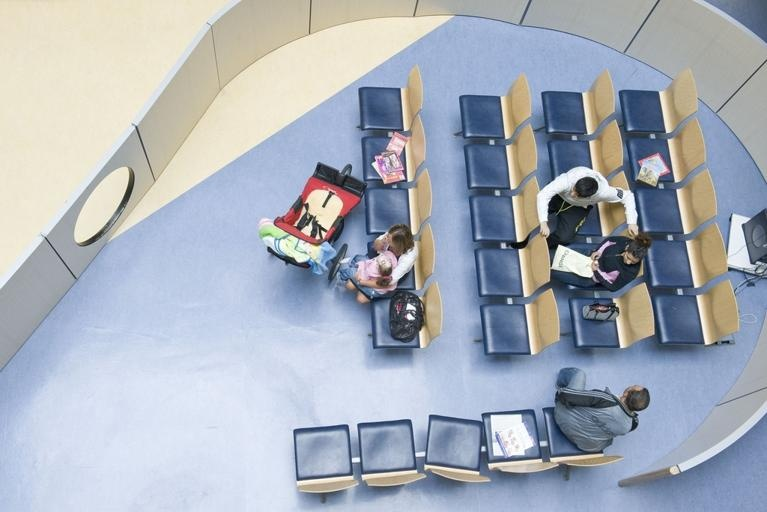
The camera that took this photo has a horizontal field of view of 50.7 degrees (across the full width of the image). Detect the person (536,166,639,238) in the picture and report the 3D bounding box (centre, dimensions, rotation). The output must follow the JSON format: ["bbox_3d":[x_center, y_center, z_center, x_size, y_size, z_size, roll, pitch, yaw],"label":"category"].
[{"bbox_3d":[2.689,-0.708,10.623,1.363,0.862,0.504,0,14,2],"label":"person"}]

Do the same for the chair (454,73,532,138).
[{"bbox_3d":[1.487,-1.952,11.109,0.809,0.620,0.540,-7,8,11],"label":"chair"}]

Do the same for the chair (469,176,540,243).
[{"bbox_3d":[1.599,-0.544,10.822,0.846,0.875,0.588,0,-4,-6],"label":"chair"}]

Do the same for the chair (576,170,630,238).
[{"bbox_3d":[3.037,-0.662,11.091,0.703,0.605,1.021,-6,7,-2],"label":"chair"}]

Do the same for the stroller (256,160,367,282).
[{"bbox_3d":[-0.813,-0.470,10.795,1.118,1.662,0.958,28,-5,3],"label":"stroller"}]

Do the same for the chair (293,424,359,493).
[{"bbox_3d":[-0.749,2.534,10.166,0.745,0.820,0.505,0,-8,-5],"label":"chair"}]

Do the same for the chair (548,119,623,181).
[{"bbox_3d":[2.778,-1.413,11.187,0.904,0.782,1.306,-2,-3,-19],"label":"chair"}]

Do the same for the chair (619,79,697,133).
[{"bbox_3d":[3.927,-2.015,11.472,1.131,0.632,0.908,6,17,3],"label":"chair"}]

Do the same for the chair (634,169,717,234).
[{"bbox_3d":[4.008,-0.676,11.054,0.986,0.833,1.426,-2,-3,-6],"label":"chair"}]

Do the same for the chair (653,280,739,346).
[{"bbox_3d":[4.073,0.769,10.766,0.926,0.920,0.678,-4,-2,-7],"label":"chair"}]

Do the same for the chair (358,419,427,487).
[{"bbox_3d":[0.036,2.403,10.219,0.742,0.826,1.036,-3,3,-5],"label":"chair"}]

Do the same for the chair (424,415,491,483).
[{"bbox_3d":[0.877,2.429,9.710,0.860,0.805,0.633,6,1,-2],"label":"chair"}]

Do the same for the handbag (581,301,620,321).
[{"bbox_3d":[2.829,0.719,10.565,0.375,0.229,0.157,-1,-36,0],"label":"handbag"}]

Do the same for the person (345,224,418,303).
[{"bbox_3d":[-0.064,0.111,10.377,0.946,1.135,0.551,11,18,39],"label":"person"}]

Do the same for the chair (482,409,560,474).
[{"bbox_3d":[1.626,2.327,10.160,0.752,0.841,0.519,0,-8,-6],"label":"chair"}]

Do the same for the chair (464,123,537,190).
[{"bbox_3d":[1.607,-1.306,10.803,0.956,0.752,0.655,0,-6,-12],"label":"chair"}]

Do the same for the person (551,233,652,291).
[{"bbox_3d":[2.840,0.104,10.500,1.157,0.684,0.813,1,-8,-5],"label":"person"}]

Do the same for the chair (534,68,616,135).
[{"bbox_3d":[2.687,-2.116,11.198,1.009,0.794,0.695,-2,-5,-5],"label":"chair"}]

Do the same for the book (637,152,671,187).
[{"bbox_3d":[3.755,-1.230,11.234,0.342,0.398,0.038,27,-19,12],"label":"book"}]

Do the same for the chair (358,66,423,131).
[{"bbox_3d":[0.114,-2.143,10.980,0.738,0.712,0.535,1,-28,-10],"label":"chair"}]

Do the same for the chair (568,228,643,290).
[{"bbox_3d":[2.920,0.080,10.458,0.850,0.658,1.024,3,-5,-27],"label":"chair"}]

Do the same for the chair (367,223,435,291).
[{"bbox_3d":[0.257,0.012,10.590,0.731,0.899,0.743,2,-12,-6],"label":"chair"}]

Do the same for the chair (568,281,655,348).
[{"bbox_3d":[2.918,0.794,10.546,0.906,0.733,0.589,-1,-26,-12],"label":"chair"}]

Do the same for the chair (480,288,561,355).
[{"bbox_3d":[1.819,0.938,10.517,0.984,0.766,0.545,-2,-8,-12],"label":"chair"}]

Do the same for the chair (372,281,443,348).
[{"bbox_3d":[0.289,0.768,10.462,0.856,0.832,0.756,0,-11,-6],"label":"chair"}]

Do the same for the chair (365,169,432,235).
[{"bbox_3d":[0.188,-0.653,10.776,0.885,0.782,1.299,1,-5,-15],"label":"chair"}]
